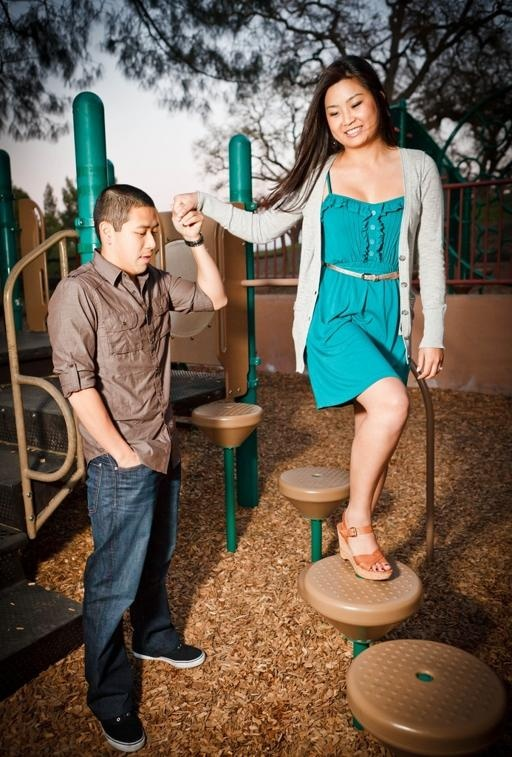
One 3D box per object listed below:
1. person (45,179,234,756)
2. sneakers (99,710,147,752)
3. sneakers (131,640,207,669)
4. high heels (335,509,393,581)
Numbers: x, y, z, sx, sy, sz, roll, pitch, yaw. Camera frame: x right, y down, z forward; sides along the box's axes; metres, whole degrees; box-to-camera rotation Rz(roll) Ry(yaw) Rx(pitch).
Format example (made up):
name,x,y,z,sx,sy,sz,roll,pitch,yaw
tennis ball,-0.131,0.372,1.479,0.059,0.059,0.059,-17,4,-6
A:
name,x,y,z,sx,sy,sz,roll,pitch,yaw
person,-0.365,0.254,1.869,0.284,1.636,0.606,1,10,12
sneakers,-0.401,1.038,1.793,0.068,0.067,0.169,4,-11,-37
sneakers,-0.324,0.991,2.206,0.245,0.085,0.096,1,2,4
high heels,0.304,0.485,1.742,0.078,0.093,0.226,-4,3,-11
